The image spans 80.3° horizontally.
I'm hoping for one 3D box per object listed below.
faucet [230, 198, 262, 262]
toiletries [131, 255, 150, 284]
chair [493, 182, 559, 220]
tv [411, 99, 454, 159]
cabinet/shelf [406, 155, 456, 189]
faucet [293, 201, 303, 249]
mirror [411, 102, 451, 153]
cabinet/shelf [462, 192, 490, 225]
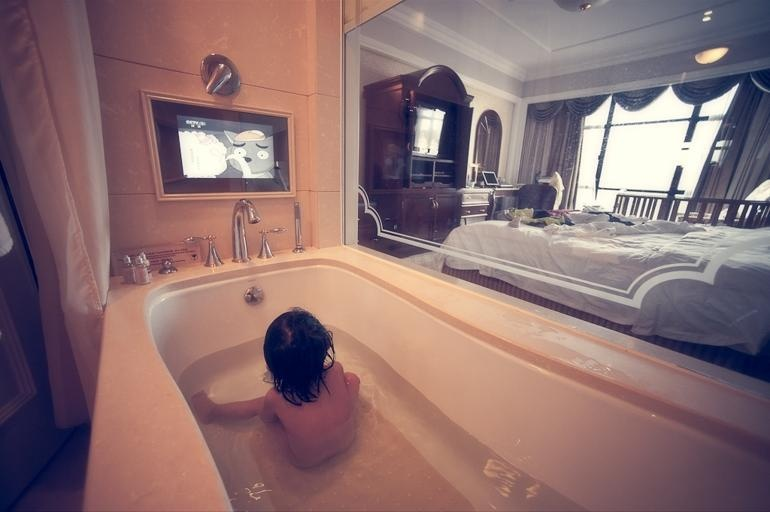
[{"bbox_3d":[-0.697,-0.122,2.260,0.138,0.318,0.338,-4,13,-16],"label":"faucet"},{"bbox_3d":[-1.100,0.061,2.056,0.060,0.131,0.062,10,18,36],"label":"toiletries"},{"bbox_3d":[0.702,-0.272,2.207,0.154,0.184,0.133,-19,30,-31],"label":"chair"},{"bbox_3d":[0.352,-0.916,3.287,0.193,0.404,0.495,-4,13,-18],"label":"tv"},{"bbox_3d":[0.357,-0.600,3.253,0.185,0.237,0.553,-4,12,-17],"label":"cabinet/shelf"},{"bbox_3d":[-0.488,-0.166,2.541,0.057,0.274,0.162,-2,13,-9],"label":"faucet"},{"bbox_3d":[0.345,-0.944,3.354,0.316,0.451,0.046,21,24,31],"label":"mirror"},{"bbox_3d":[0.515,-0.262,2.566,0.126,0.222,0.109,-16,35,-24],"label":"cabinet/shelf"}]
